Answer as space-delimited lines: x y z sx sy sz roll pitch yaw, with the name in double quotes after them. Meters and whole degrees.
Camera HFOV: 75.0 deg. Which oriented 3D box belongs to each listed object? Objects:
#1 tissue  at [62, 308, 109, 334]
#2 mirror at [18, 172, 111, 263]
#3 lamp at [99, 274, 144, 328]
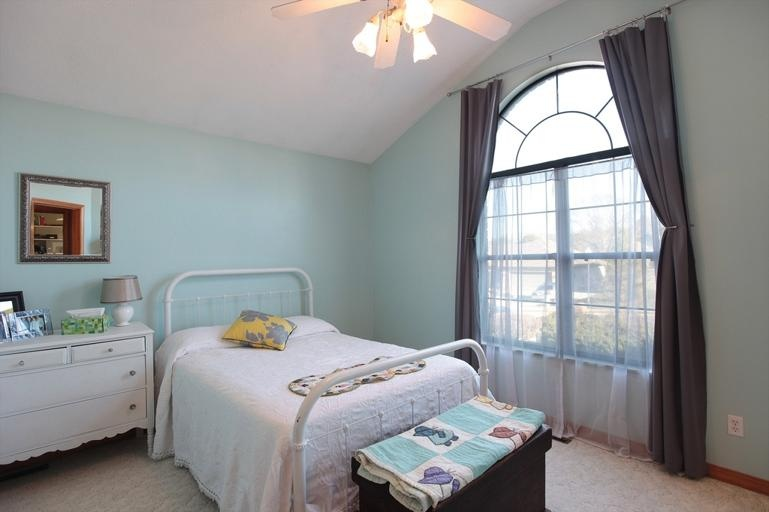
-2.471 0.489 4.128 0.255 0.160 0.245 0 1 -31 "tissue "
-2.735 -0.326 4.224 0.771 0.990 0.107 1 -2 -32 "mirror"
-2.215 0.367 4.347 0.402 0.523 0.391 -3 3 -39 "lamp"
